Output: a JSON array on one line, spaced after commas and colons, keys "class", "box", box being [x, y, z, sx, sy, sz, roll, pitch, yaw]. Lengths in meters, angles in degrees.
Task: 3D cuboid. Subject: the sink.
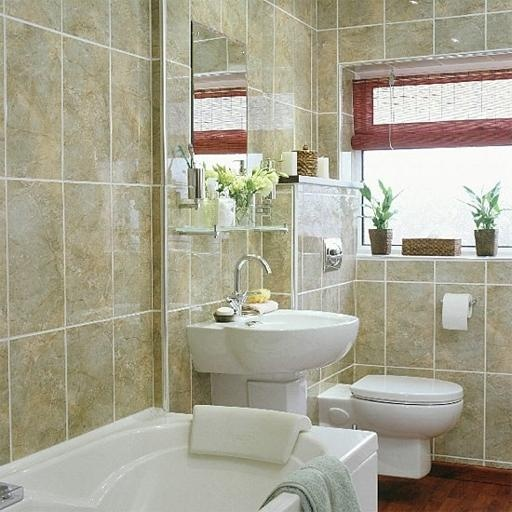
[{"class": "sink", "box": [0.103, 0.380, 2.148, 0.612, 0.258, 0.539, -2, -1, 26]}]

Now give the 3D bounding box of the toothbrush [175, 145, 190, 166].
[{"class": "toothbrush", "box": [-0.280, -0.401, 2.036, 0.014, 0.087, 0.094, -2, 0, 26]}]

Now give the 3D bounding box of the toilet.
[{"class": "toilet", "box": [0.786, 0.976, 2.962, 0.696, 0.540, 0.607, -2, 0, 29]}]

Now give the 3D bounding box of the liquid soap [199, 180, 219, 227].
[{"class": "liquid soap", "box": [-0.197, -0.223, 2.131, 0.084, 0.194, 0.140, -2, 0, -6]}]

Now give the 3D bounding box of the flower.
[{"class": "flower", "box": [-0.040, -0.225, 2.255, 0.288, 0.294, 0.241, -1, 3, -15]}]

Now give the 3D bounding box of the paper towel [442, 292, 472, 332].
[{"class": "paper towel", "box": [1.164, 0.318, 2.930, 0.173, 0.240, 0.122, 1, 10, 38]}]

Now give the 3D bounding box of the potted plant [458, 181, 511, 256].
[{"class": "potted plant", "box": [1.381, -0.219, 3.184, 0.372, 0.485, 0.341, 0, 4, 26]}]
